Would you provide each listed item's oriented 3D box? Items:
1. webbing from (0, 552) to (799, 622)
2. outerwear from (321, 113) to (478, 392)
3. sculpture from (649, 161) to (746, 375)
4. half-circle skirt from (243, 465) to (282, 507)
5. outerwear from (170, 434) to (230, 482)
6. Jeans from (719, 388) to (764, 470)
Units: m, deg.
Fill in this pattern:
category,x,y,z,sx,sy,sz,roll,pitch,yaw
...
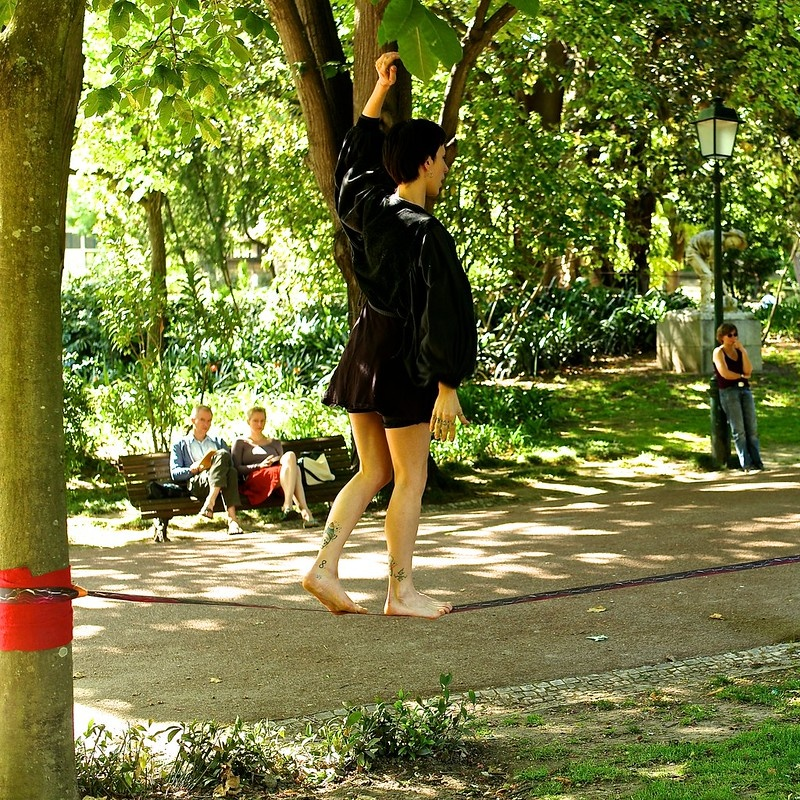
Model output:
category,x,y,z,sx,sy,sz,roll,pitch,yaw
webbing,0.170,1.046,8.122,4.042,0.282,0.455,-2,-21,-3
outerwear,-0.014,-0.626,6.282,0.409,1.183,0.764,-4,8,-30
sculpture,4.431,-1.480,21.127,1.069,2.085,1.064,-2,3,-34
half-circle skirt,-1.176,0.716,12.334,0.333,0.352,0.212,-1,7,-7
outerwear,-1.740,0.483,12.603,0.645,0.476,0.363,-3,-6,-18
Jeans,3.282,0.268,13.999,0.297,0.768,0.545,-2,8,-18
